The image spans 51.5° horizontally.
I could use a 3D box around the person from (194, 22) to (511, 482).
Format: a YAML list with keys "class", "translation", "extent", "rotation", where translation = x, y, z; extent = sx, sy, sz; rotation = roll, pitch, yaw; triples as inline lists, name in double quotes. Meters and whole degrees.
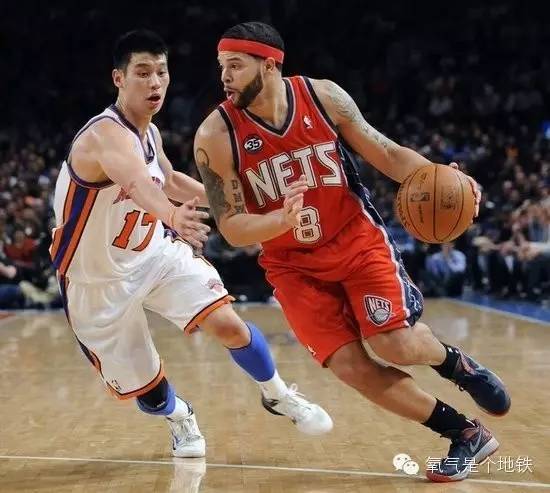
- class: "person"
  translation: [0.305, 0.014, 2.363]
  extent: [0.966, 1.907, 0.767]
  rotation: [-11, 15, -19]

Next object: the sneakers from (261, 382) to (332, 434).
- class: "sneakers"
  translation: [0.090, 0.756, 2.675]
  extent: [0.391, 0.136, 0.157]
  rotation: [22, 52, 30]

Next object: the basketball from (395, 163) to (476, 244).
- class: "basketball"
  translation: [0.716, -0.187, 2.460]
  extent: [0.373, 0.290, 0.305]
  rotation: [1, 0, 0]
